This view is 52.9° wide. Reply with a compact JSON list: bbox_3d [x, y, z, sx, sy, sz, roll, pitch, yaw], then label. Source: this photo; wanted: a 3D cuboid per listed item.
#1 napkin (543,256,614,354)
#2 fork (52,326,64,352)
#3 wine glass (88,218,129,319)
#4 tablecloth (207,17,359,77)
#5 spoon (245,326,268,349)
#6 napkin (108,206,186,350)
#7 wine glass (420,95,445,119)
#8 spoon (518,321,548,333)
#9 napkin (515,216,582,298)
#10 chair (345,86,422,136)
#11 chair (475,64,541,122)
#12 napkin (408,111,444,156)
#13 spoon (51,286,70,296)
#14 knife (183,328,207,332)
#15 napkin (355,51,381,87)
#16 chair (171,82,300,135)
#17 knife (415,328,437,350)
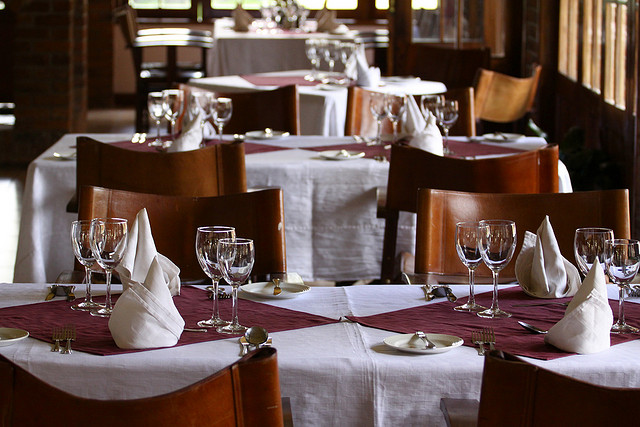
[{"bbox_3d":[0.533,0.191,1.311,0.091,0.198,0.118,-1,1,-22],"label":"napkin"},{"bbox_3d":[-0.516,0.247,1.269,0.014,0.005,0.070,2,24,-6],"label":"fork"},{"bbox_3d":[-0.484,0.127,1.474,0.098,0.295,0.113,-2,19,-17],"label":"wine glass"},{"bbox_3d":[-0.522,-1.616,6.821,1.189,0.381,1.397,-2,9,2],"label":"tablecloth"},{"bbox_3d":[-0.127,0.249,1.292,0.042,0.052,0.012,6,-31,-1],"label":"spoon"},{"bbox_3d":[-0.363,0.141,1.357,0.117,0.299,0.165,-10,-12,40],"label":"napkin"},{"bbox_3d":[0.540,-0.514,3.095,0.080,0.090,0.099,6,13,20],"label":"wine glass"},{"bbox_3d":[0.450,0.247,1.373,0.076,0.016,0.022,14,-10,-8],"label":"spoon"},{"bbox_3d":[0.567,0.103,1.601,0.127,0.218,0.122,-4,-4,33],"label":"napkin"},{"bbox_3d":[0.336,-0.558,3.665,0.335,0.428,0.282,-1,7,-9],"label":"chair"},{"bbox_3d":[1.389,-0.892,4.824,0.518,0.397,0.162,-4,10,-15],"label":"chair"},{"bbox_3d":[0.463,-0.359,2.783,0.119,0.187,0.163,-11,33,-35],"label":"napkin"},{"bbox_3d":[-0.632,0.189,1.564,0.024,0.013,0.028,3,-13,-6],"label":"spoon"},{"bbox_3d":[-0.263,0.247,1.352,0.038,0.004,0.010,1,-2,2],"label":"knife"},{"bbox_3d":[0.320,-0.956,4.456,0.144,0.288,0.180,2,-22,5],"label":"napkin"},{"bbox_3d":[-0.441,-0.554,3.472,0.381,0.249,0.436,4,9,-3],"label":"chair"},{"bbox_3d":[0.216,0.254,1.294,0.015,0.011,0.057,4,26,-23],"label":"knife"}]
